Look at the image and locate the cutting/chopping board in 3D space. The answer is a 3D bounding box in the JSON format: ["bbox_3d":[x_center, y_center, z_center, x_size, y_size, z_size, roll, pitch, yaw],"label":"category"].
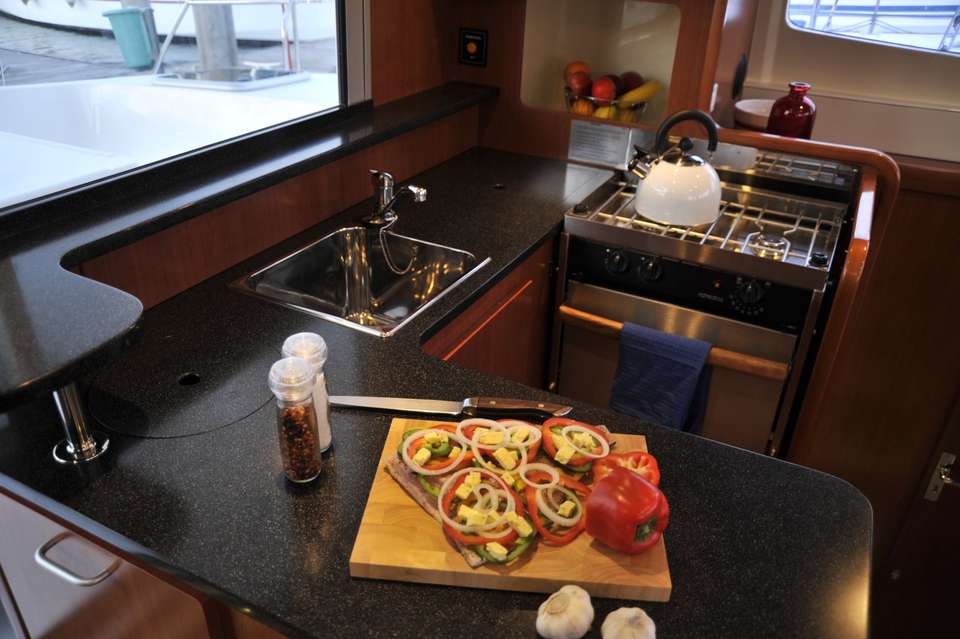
[{"bbox_3d":[0.023,0.365,1.226,0.397,0.038,0.276,4,37,5],"label":"cutting/chopping board"}]

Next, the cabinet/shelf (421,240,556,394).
[{"bbox_3d":[0.014,-0.026,2.093,0.283,0.538,0.332,18,45,19],"label":"cabinet/shelf"}]

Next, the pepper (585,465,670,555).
[{"bbox_3d":[0.298,0.377,1.347,0.161,0.160,0.156,3,31,28],"label":"pepper"}]

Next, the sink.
[{"bbox_3d":[-0.350,-0.048,2.084,0.563,0.272,0.527,18,33,21],"label":"sink"}]

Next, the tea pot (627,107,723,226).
[{"bbox_3d":[0.635,-0.511,2.185,0.315,0.331,0.248,7,32,14],"label":"tea pot"}]

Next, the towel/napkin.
[{"bbox_3d":[0.628,0.185,2.249,0.289,0.336,0.133,18,35,23],"label":"towel/napkin"}]

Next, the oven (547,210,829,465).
[{"bbox_3d":[0.726,0.051,2.767,1.132,1.069,0.764,17,38,22],"label":"oven"}]

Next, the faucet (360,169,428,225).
[{"bbox_3d":[-0.272,-0.385,2.178,0.107,0.173,0.289,-14,21,-42],"label":"faucet"}]

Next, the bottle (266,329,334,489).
[{"bbox_3d":[-0.381,0.189,1.442,0.115,0.262,0.197,0,31,-8],"label":"bottle"}]
